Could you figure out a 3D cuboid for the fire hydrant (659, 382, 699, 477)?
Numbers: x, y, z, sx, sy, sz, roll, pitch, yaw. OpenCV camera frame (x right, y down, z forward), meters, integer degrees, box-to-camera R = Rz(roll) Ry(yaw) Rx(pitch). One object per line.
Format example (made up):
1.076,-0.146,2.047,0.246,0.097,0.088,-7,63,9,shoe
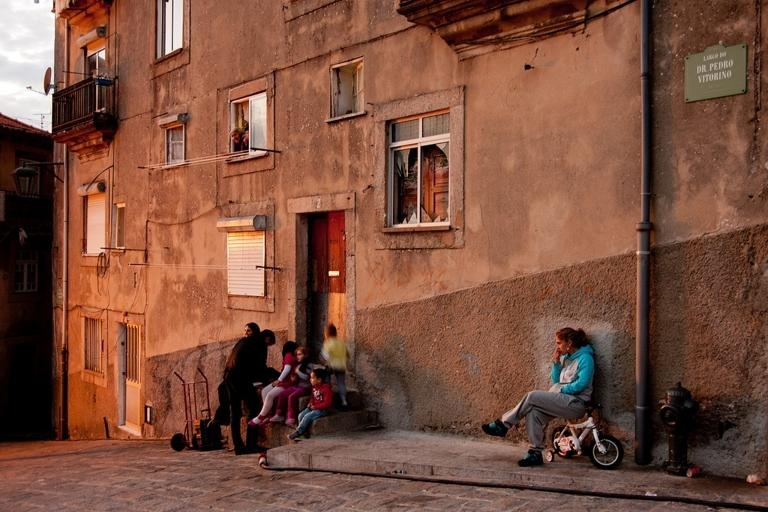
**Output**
4.744,2.785,15.762,0.571,1.473,0.334,-4,-8,15,fire hydrant

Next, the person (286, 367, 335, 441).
-1.394,2.776,18.432,0.772,1.332,0.605,-1,-8,-5,person

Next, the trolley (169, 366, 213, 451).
-4.118,3.292,21.016,0.963,1.602,0.921,-2,0,-3,trolley

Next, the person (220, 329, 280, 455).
-2.601,2.658,19.519,1.325,2.466,0.888,4,-4,-11,person

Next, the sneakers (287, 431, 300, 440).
-1.700,3.356,18.298,0.169,0.162,0.459,0,-10,-12,sneakers

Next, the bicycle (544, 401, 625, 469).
3.289,3.049,16.359,0.806,0.875,1.304,8,-9,-44,bicycle

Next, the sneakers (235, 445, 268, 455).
-2.627,3.797,19.125,0.607,0.146,0.292,-1,-9,-6,sneakers
